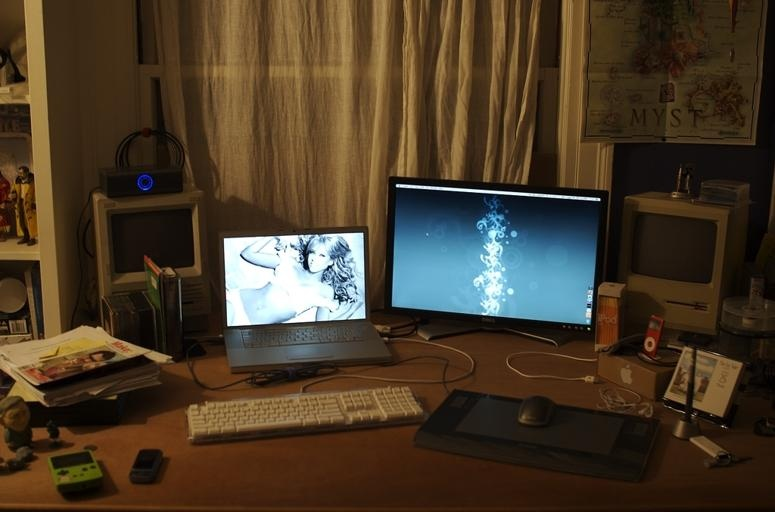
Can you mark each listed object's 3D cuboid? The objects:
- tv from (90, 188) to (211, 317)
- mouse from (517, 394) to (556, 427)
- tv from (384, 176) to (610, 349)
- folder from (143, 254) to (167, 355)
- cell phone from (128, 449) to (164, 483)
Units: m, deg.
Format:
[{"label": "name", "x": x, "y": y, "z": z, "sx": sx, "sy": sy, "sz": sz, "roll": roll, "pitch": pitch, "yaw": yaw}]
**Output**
[{"label": "tv", "x": -0.821, "y": -0.012, "z": 2.251, "sx": 0.435, "sy": 0.493, "sz": 0.248, "roll": -2, "pitch": 3, "yaw": -22}, {"label": "mouse", "x": 0.437, "y": 0.436, "z": 1.882, "sx": 0.088, "sy": 0.049, "sz": 0.151, "roll": 4, "pitch": 14, "yaw": 31}, {"label": "tv", "x": 0.389, "y": 0.033, "z": 2.288, "sx": 0.567, "sy": 0.416, "sz": 0.182, "roll": 4, "pitch": 7, "yaw": 8}, {"label": "folder", "x": -0.772, "y": 0.176, "z": 2.143, "sx": 0.040, "sy": 0.291, "sz": 0.251, "roll": -6, "pitch": 19, "yaw": -22}, {"label": "cell phone", "x": -0.621, "y": 0.542, "z": 1.674, "sx": 0.072, "sy": 0.045, "sz": 0.101, "roll": -4, "pitch": 13, "yaw": -3}]
